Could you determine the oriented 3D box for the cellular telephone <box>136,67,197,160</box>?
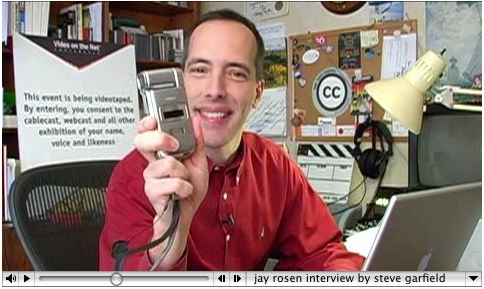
[{"bbox_3d":[-0.206,-0.095,0.988,0.143,0.262,0.079,-8,2,-20],"label":"cellular telephone"}]

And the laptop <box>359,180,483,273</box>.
[{"bbox_3d":[0.551,0.256,1.203,0.437,0.279,0.300,6,4,-38],"label":"laptop"}]

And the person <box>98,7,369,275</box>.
[{"bbox_3d":[-0.015,-0.004,1.382,0.984,1.119,0.529,-4,6,-33],"label":"person"}]

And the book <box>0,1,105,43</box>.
[{"bbox_3d":[-1.444,-0.978,2.741,0.678,0.400,0.442,-4,6,-31],"label":"book"}]

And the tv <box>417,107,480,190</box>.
[{"bbox_3d":[1.182,0.012,1.994,0.165,0.444,0.321,-5,6,-38],"label":"tv"}]

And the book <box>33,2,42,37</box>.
[{"bbox_3d":[-1.453,-0.894,2.527,0.066,0.233,0.028,-4,6,-32],"label":"book"}]
